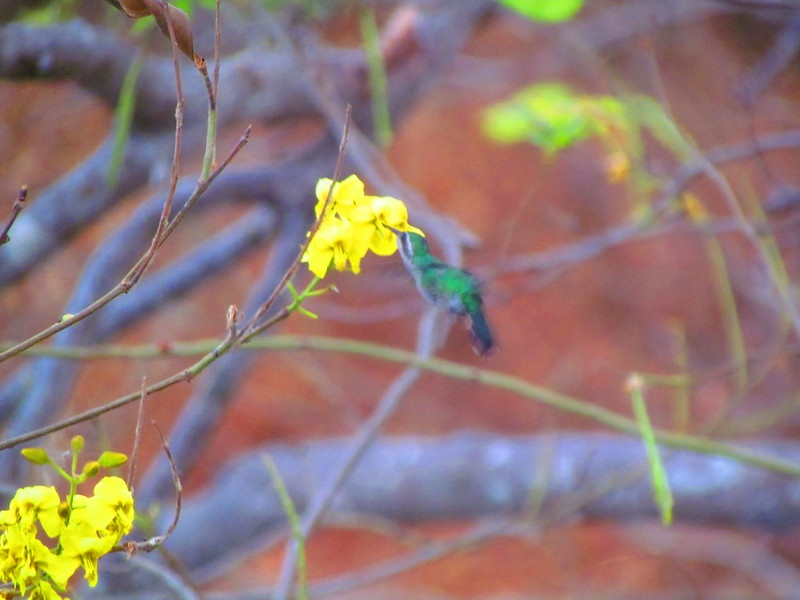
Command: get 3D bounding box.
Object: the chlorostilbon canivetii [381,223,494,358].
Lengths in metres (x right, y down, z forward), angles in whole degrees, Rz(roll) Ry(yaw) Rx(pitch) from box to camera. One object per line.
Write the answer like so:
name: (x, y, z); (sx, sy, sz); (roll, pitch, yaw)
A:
chlorostilbon canivetii: (0.042, -0.013, 1.093); (0.138, 0.049, 0.066); (35, -58, 16)

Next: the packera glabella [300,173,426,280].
packera glabella: (-0.034, -0.059, 1.041); (0.084, 0.080, 0.107); (25, -55, 48)
